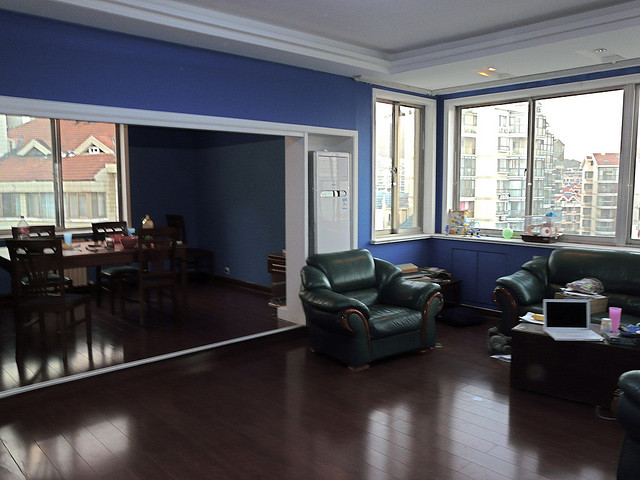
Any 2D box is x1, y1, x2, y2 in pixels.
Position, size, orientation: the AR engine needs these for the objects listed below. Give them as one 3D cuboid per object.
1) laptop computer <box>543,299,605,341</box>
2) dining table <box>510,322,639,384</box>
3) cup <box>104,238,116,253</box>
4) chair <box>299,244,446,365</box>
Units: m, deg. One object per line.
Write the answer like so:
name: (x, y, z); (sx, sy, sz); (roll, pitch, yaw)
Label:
laptop computer: (2.285, 0.733, 4.119); (0.533, 0.292, 0.359); (0, 3, 3)
dining table: (2.277, 1.091, 4.174); (0.962, 0.532, 0.392); (6, 14, 28)
cup: (-2.643, 0.071, 5.708); (0.175, 0.184, 0.160); (2, 1, 0)
chair: (0.501, 0.729, 5.100); (1.295, 0.991, 0.976); (-7, 14, -31)
